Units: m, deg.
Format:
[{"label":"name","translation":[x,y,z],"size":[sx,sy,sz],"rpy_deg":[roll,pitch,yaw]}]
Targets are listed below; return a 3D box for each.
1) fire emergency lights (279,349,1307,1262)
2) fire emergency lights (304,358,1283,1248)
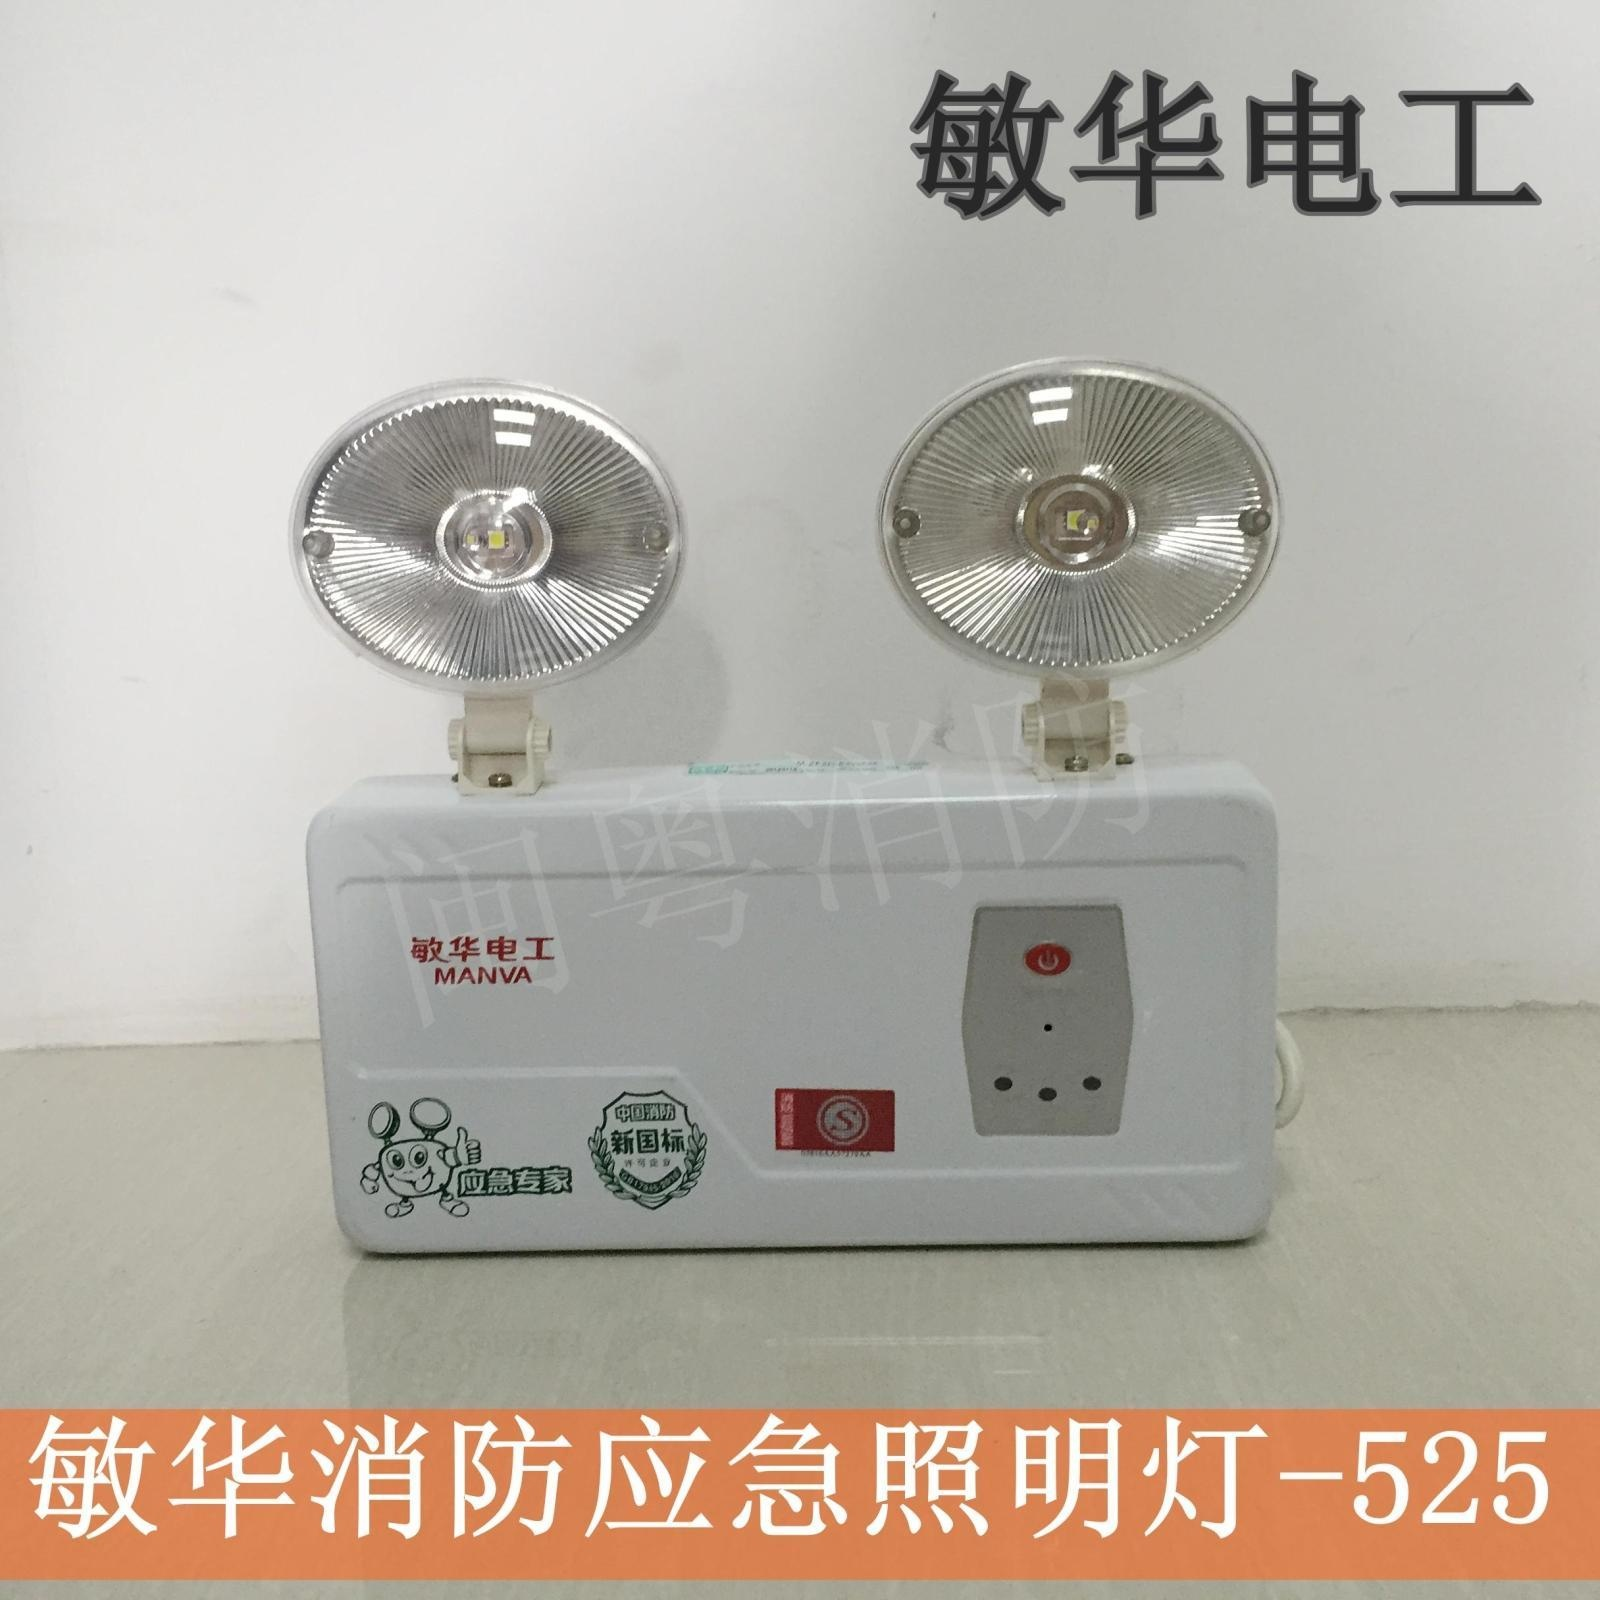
[{"label":"fire emergency lights","translation":[-0.010,-0.001,1.961],"size":[0.836,0.832,0.276],"rpy_deg":[-2,16,-2]},{"label":"fire emergency lights","translation":[-0.008,0.002,1.940],"size":[0.816,0.815,0.284],"rpy_deg":[-2,17,-2]}]
